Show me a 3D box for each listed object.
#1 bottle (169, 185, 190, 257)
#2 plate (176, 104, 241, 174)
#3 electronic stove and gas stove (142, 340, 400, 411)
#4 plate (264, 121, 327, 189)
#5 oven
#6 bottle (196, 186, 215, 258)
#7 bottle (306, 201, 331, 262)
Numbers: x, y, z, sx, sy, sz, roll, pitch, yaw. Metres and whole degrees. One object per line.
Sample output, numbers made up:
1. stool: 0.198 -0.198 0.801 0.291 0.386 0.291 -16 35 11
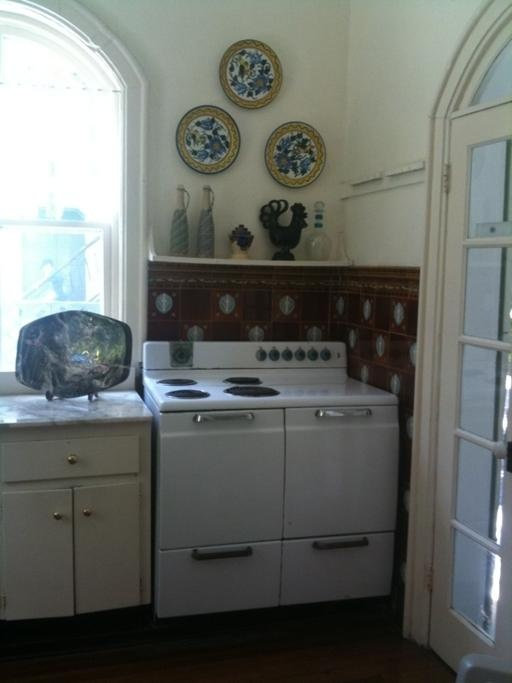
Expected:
1. bottle: -0.314 -0.490 2.221 0.071 0.297 0.087 1 1 -13
2. plate: -0.205 -0.852 2.273 0.250 0.288 0.045 -2 10 -22
3. electronic stove and gas stove: 0.026 0.119 2.069 0.898 0.228 0.563 1 1 -13
4. plate: 0.174 -0.825 2.398 0.281 0.280 0.056 1 1 -16
5. oven: 0.056 0.402 2.137 1.016 0.973 0.617 2 2 -15
6. bottle: -0.214 -0.503 2.287 0.080 0.320 0.155 1 1 -4
7. bottle: 0.292 -0.488 2.436 0.113 0.254 0.116 1 1 0
